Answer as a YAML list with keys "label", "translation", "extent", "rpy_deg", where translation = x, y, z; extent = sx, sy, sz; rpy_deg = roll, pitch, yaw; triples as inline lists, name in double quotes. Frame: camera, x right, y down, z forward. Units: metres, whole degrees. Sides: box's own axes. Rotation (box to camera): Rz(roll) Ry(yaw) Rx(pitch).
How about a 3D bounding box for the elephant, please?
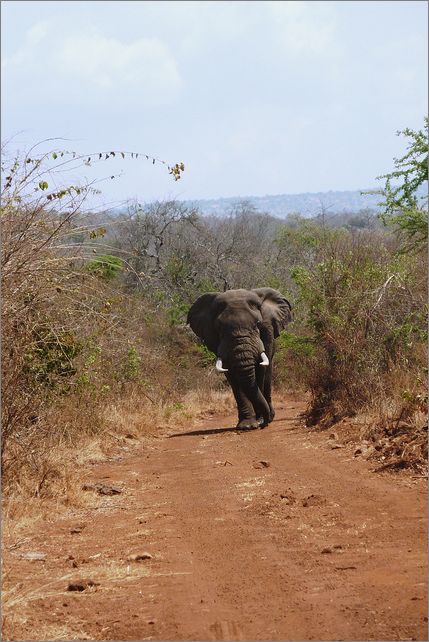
- label: "elephant"
  translation: [0.466, 0.560, 11.378]
  extent: [1.545, 2.028, 2.368]
  rpy_deg: [-4, 1, 4]
